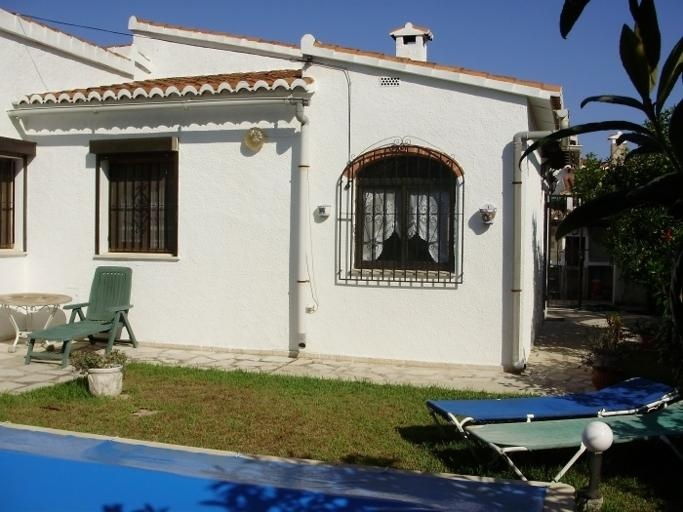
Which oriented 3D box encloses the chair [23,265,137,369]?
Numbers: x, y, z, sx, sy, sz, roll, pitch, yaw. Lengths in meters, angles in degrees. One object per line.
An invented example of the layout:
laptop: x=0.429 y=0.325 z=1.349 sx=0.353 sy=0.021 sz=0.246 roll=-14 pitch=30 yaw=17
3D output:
chair: x=-3.883 y=0.851 z=9.440 sx=0.828 sy=1.450 sz=1.736 roll=1 pitch=0 yaw=11

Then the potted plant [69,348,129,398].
potted plant: x=-2.920 y=1.412 z=7.715 sx=0.478 sy=0.641 sz=0.653 roll=-5 pitch=-5 yaw=33
